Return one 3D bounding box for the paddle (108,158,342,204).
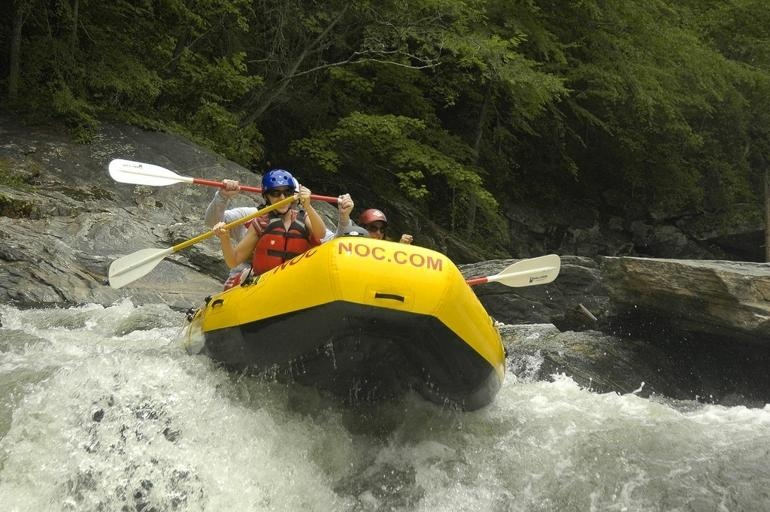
[{"bbox_3d":[-2.085,-0.957,11.019,4.194,0.575,0.146,1,26,-47],"label":"paddle"}]

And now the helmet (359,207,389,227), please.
[{"bbox_3d":[-0.159,-0.522,9.399,0.307,0.221,0.311,11,38,-12],"label":"helmet"}]

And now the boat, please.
[{"bbox_3d":[-0.266,0.762,8.388,2.850,1.812,0.721,-12,45,44],"label":"boat"}]

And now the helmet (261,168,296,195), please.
[{"bbox_3d":[-1.369,-0.949,9.317,0.262,0.387,0.262,-7,5,-14],"label":"helmet"}]

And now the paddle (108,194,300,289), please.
[{"bbox_3d":[-2.625,-0.166,10.417,3.513,0.511,0.143,-24,6,3],"label":"paddle"}]
